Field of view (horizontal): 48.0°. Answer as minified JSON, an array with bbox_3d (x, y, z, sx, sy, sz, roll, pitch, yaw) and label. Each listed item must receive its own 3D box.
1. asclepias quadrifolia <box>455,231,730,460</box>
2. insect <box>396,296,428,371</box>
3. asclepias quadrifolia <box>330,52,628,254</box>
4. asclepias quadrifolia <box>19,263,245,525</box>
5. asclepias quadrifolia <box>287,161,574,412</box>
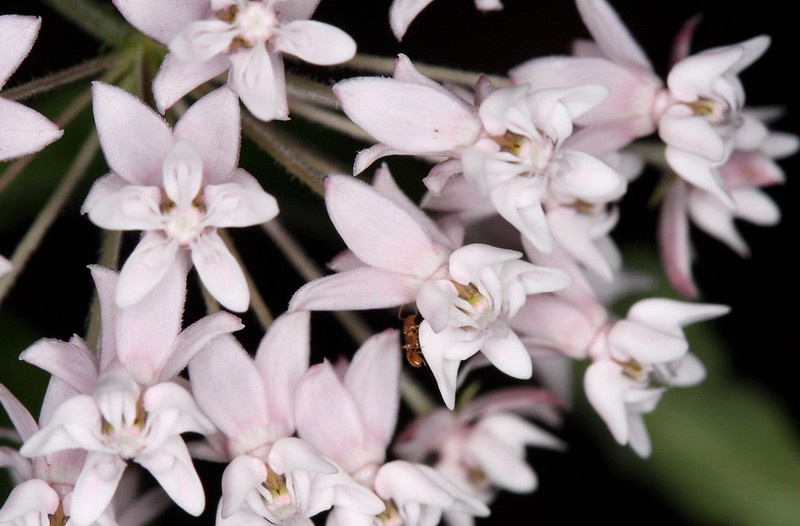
[{"bbox_3d":[0.440,0.163,2.049,0.346,0.542,0.212,-60,-11,4],"label":"asclepias quadrifolia"},{"bbox_3d":[0.002,0.149,1.857,0.035,0.115,0.101,-18,17,-15],"label":"insect"},{"bbox_3d":[0.139,-0.215,1.862,0.542,0.322,0.295,20,-2,-6],"label":"asclepias quadrifolia"},{"bbox_3d":[-0.478,0.243,1.655,0.434,0.462,0.203,-21,-18,-12],"label":"asclepias quadrifolia"},{"bbox_3d":[0.051,0.040,1.826,0.435,0.506,0.158,-46,4,-2],"label":"asclepias quadrifolia"}]
